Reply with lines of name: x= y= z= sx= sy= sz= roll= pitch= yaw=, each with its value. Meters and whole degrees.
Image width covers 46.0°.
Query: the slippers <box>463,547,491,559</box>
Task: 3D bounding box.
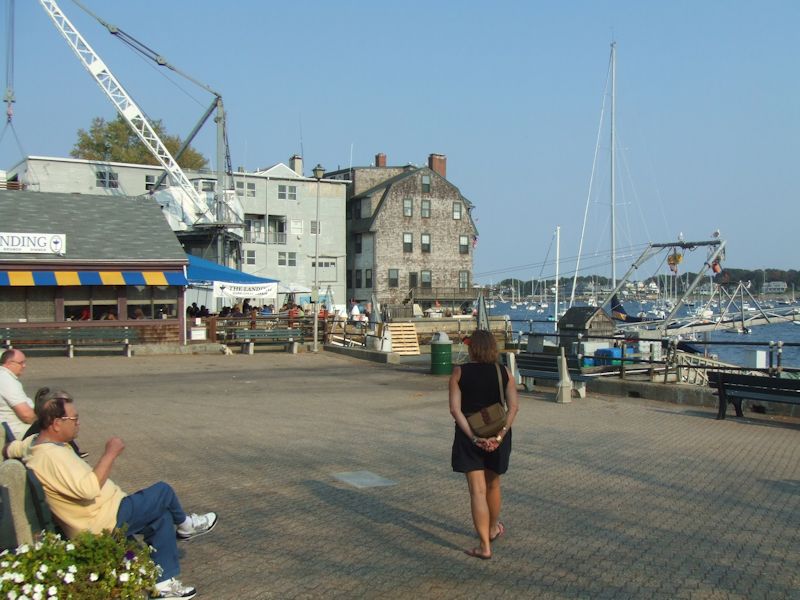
slippers: x=0.867 y=2.802 z=10.502 sx=0.288 sy=0.128 sz=0.103 roll=10 pitch=3 yaw=26

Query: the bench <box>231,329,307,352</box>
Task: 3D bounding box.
bench: x=-4.915 y=1.413 z=33.870 sx=2.524 sy=0.789 sz=2.492 roll=-2 pitch=-1 yaw=-13

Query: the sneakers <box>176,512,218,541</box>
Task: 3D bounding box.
sneakers: x=-2.277 y=2.497 z=10.487 sx=0.474 sy=0.218 sz=0.201 roll=-20 pitch=38 yaw=-40

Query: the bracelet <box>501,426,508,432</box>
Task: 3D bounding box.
bracelet: x=1.183 y=1.447 z=10.566 sx=0.060 sy=0.023 sz=0.058 roll=-32 pitch=-5 yaw=-18

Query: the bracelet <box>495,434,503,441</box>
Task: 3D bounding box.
bracelet: x=1.111 y=1.535 z=10.501 sx=0.062 sy=0.101 sz=0.060 roll=-2 pitch=5 yaw=-1

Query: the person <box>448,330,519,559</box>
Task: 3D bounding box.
person: x=0.954 y=1.598 z=10.635 sx=0.741 sy=2.402 sz=0.496 roll=-1 pitch=0 yaw=1
